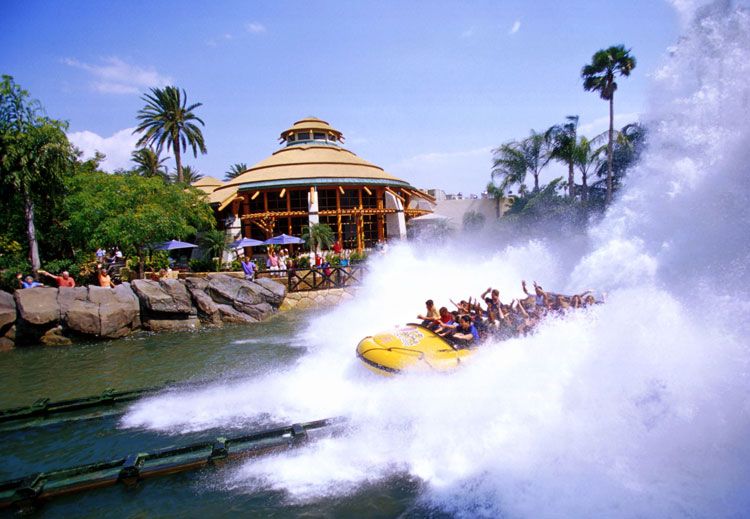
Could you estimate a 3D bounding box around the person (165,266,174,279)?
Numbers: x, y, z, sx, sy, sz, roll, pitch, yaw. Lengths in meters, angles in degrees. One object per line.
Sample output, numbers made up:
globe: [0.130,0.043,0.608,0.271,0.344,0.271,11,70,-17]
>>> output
person: [-11.435,0.714,27.471,0.409,0.432,0.773,-4,40,-11]

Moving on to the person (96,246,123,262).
person: [-14.705,-0.367,27.444,1.396,0.844,0.857,6,-5,-36]

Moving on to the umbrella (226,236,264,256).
umbrella: [-8.237,-0.952,32.036,1.705,0.692,1.648,-1,3,25]

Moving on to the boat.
boat: [2.608,1.906,13.929,6.086,1.434,1.695,-7,12,-18]
